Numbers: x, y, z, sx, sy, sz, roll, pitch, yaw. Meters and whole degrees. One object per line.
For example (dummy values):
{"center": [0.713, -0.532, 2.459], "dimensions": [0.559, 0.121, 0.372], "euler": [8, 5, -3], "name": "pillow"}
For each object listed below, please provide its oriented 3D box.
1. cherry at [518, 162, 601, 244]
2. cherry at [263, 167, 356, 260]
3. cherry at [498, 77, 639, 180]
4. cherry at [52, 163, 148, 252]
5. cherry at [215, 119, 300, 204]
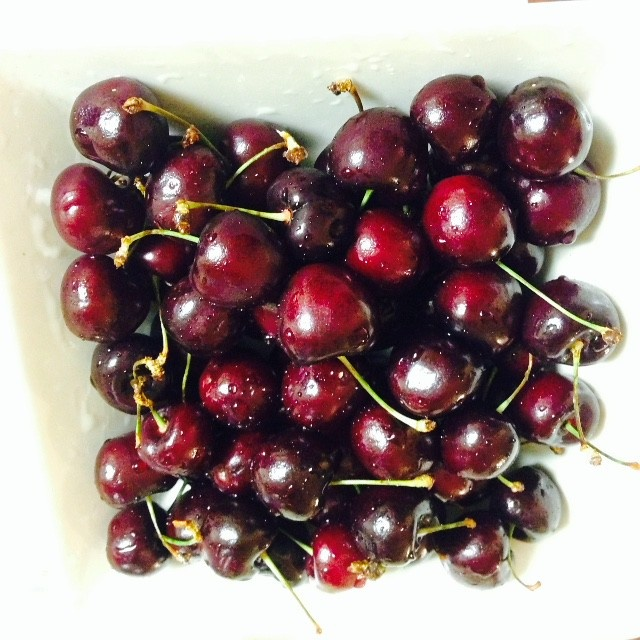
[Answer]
{"center": [0.339, -0.164, 1.123], "dimensions": [0.114, 0.112, 0.106], "euler": [1, 1, -45], "name": "cherry"}
{"center": [-0.008, -0.146, 1.089], "dimensions": [0.113, 0.107, 0.107], "euler": [-8, 31, -8], "name": "cherry"}
{"center": [0.312, -0.261, 1.086], "dimensions": [0.119, 0.126, 0.088], "euler": [10, 33, 21], "name": "cherry"}
{"center": [-0.317, -0.160, 1.129], "dimensions": [0.123, 0.116, 0.073], "euler": [-9, 32, -9], "name": "cherry"}
{"center": [-0.092, -0.225, 1.184], "dimensions": [0.135, 0.107, 0.146], "euler": [-6, 9, -25], "name": "cherry"}
